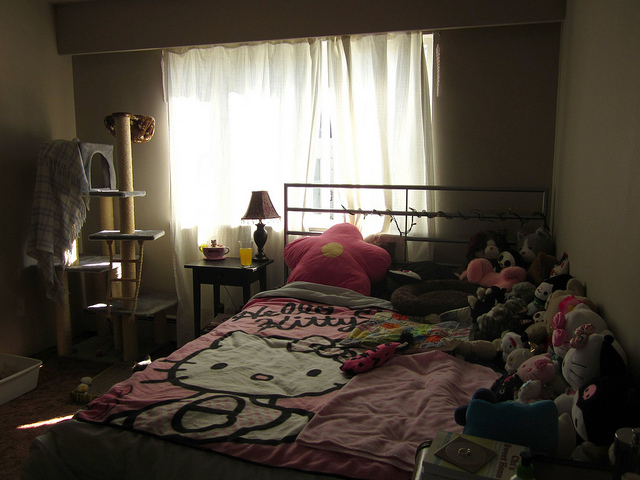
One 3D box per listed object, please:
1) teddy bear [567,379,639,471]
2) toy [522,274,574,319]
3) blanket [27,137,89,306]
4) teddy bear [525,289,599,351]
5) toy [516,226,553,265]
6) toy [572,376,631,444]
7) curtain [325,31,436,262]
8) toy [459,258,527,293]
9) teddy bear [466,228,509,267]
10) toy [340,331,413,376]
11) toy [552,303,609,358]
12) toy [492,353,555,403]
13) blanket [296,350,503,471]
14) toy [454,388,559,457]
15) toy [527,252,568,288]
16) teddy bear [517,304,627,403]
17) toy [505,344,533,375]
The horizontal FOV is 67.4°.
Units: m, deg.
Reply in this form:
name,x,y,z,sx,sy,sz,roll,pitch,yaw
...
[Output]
name,x,y,z,sx,sy,sz,roll,pitch,yaw
teddy bear,0.869,0.563,1.459,0.188,0.253,0.232,13,2,33
toy,1.110,0.257,2.350,0.249,0.092,0.179,-37,15,-9
blanket,-1.820,-0.113,3.381,0.434,1.156,0.181,-1,6,7
teddy bear,1.066,0.390,2.121,0.218,0.283,0.230,3,32,45
toy,1.341,0.031,3.050,0.224,0.262,0.218,7,-18,12
toy,0.913,0.547,1.562,0.162,0.198,0.107,1,6,29
curtain,0.426,-0.663,3.455,0.773,1.626,0.209,0,6,17
toy,1.041,0.200,2.853,0.161,0.104,0.249,-11,11,-40
teddy bear,1.084,0.091,3.090,0.278,0.307,0.195,-2,-15,8
toy,0.257,0.520,2.223,0.422,0.131,0.128,-20,17,-32
toy,1.009,0.335,1.902,0.167,0.185,0.154,-26,-2,0
toy,0.809,0.544,1.890,0.163,0.078,0.093,-31,22,-1
blanket,0.304,0.641,1.879,0.353,0.060,0.517,4,10,30
toy,0.601,0.596,1.559,0.284,0.182,0.127,9,-14,-4
toy,1.340,0.126,2.806,0.231,0.221,0.134,-3,30,14
teddy bear,0.962,0.434,1.868,0.356,0.321,0.338,0,6,22
toy,0.869,0.524,2.088,0.127,0.123,0.112,-6,-2,-8
